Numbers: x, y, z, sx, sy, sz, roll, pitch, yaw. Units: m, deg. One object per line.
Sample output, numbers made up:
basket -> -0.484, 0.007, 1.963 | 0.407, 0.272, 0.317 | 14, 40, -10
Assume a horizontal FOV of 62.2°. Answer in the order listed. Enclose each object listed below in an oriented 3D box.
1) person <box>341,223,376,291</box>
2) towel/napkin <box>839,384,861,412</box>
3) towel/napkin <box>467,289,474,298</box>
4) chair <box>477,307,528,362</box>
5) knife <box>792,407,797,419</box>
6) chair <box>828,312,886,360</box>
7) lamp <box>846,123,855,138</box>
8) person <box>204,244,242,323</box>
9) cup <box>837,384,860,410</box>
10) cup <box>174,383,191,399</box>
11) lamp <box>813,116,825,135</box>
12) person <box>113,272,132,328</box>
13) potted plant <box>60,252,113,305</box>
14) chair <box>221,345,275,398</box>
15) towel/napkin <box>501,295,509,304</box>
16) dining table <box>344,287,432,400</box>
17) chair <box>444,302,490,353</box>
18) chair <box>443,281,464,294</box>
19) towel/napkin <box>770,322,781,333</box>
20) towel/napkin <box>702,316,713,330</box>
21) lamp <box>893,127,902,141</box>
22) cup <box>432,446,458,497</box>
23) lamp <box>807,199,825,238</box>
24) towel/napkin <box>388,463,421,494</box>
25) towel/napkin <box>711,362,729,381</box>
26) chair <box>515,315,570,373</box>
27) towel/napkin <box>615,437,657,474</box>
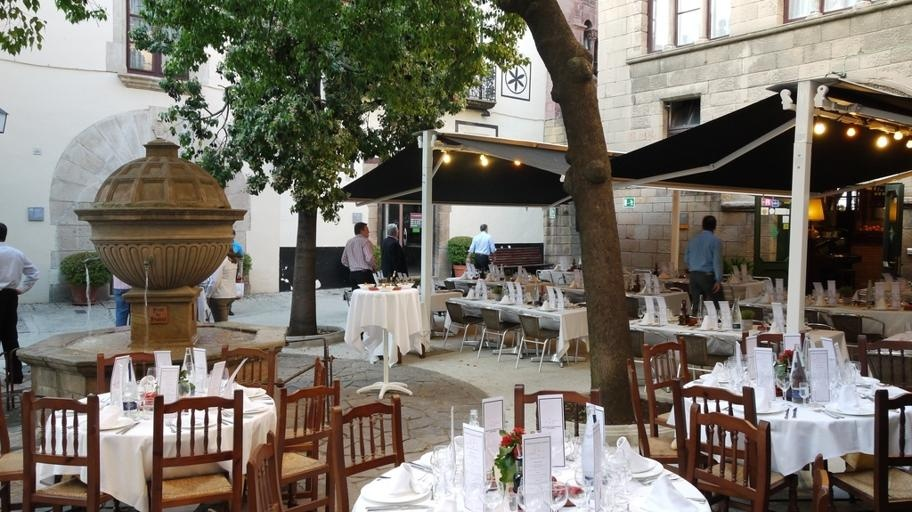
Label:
person -> -2.151, -0.039, 16.774 | 0.703, 1.472, 1.048 | 0, -2, -8
towel/napkin -> 5.068, 1.822, 9.720 | 0.282, 0.323, 0.336 | -3, -17, 24
towel/napkin -> 0.332, 0.823, 16.510 | 0.158, 0.167, 0.176 | 0, -2, 2
chair -> 0.828, 1.537, 15.797 | 0.999, 1.344, 0.999 | -3, 4, -34
knife -> 4.371, 2.008, 9.700 | 0.053, 0.028, 0.258 | 1, 23, 15
chair -> 6.749, 1.351, 12.663 | 0.725, 0.911, 0.702 | -8, 8, -35
lamp -> 7.611, -2.432, 14.499 | 0.126, 0.136, 0.271 | 4, 25, 13
person -> -4.883, 0.609, 15.868 | 0.758, 1.723, 0.737 | 15, 21, -3
cup -> 5.084, 1.825, 9.813 | 0.280, 0.317, 0.327 | -5, -5, 27
cup -> -3.527, 1.725, 9.802 | 0.172, 0.194, 0.173 | 2, 8, 0
lamp -> 6.861, -2.479, 14.215 | 0.270, 0.316, 0.147 | -24, 31, -33
person -> -6.116, 0.826, 13.797 | 0.231, 0.858, 1.279 | 0, -2, -24
potted plant -> -9.138, 0.505, 18.474 | 1.313, 1.318, 1.325 | -2, 2, -36
chair -> -2.974, 1.668, 10.873 | 0.719, 1.036, 0.700 | 0, 0, -17
towel/napkin -> 1.053, 0.900, 15.793 | 0.179, 0.175, 0.153 | 1, -5, -8
dining table -> -0.957, 1.459, 13.710 | 1.806, 2.264, 1.737 | 1, 0, -36
chair -> 0.147, 1.406, 16.581 | 0.951, 1.302, 0.970 | -4, 7, -28
chair -> -0.015, 0.753, 18.514 | 0.388, 0.536, 0.322 | 0, 4, -14
towel/napkin -> 5.221, 1.163, 12.245 | 0.159, 0.169, 0.168 | 3, -18, -7
towel/napkin -> 4.324, 1.127, 12.922 | 0.203, 0.198, 0.211 | 4, 11, 35
lamp -> 8.583, -2.390, 14.611 | 0.175, 0.235, 0.177 | -1, -3, 41
cup -> -0.126, 2.390, 8.464 | 0.283, 0.562, 0.173 | -1, -2, 17
lamp -> 10.465, -1.117, 21.847 | 0.364, 1.158, 0.764 | -1, -2, 35
towel/napkin -> -0.549, 2.498, 8.623 | 0.437, 0.405, 0.263 | 5, -5, -37
towel/napkin -> 3.727, 1.621, 10.547 | 0.207, 0.196, 0.179 | -4, 4, -12
chair -> 1.590, 1.589, 15.230 | 1.045, 1.494, 1.025 | -5, 8, -31
towel/napkin -> 2.078, 2.297, 8.861 | 0.384, 0.208, 0.491 | -2, 3, 0
